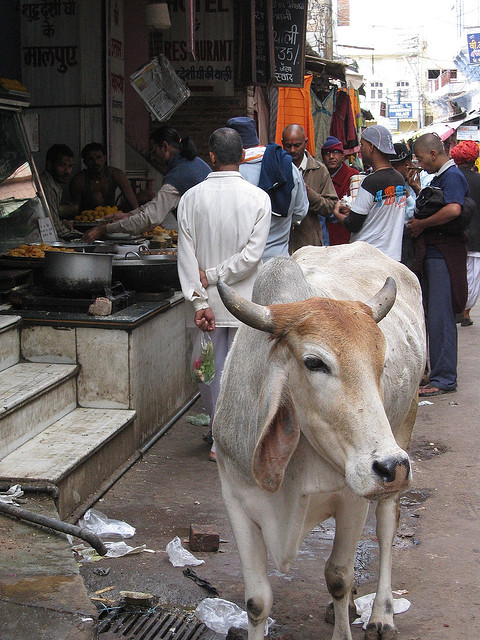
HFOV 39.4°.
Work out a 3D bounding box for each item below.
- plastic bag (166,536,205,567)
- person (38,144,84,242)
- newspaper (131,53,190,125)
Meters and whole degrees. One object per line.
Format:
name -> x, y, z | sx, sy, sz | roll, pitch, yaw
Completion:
plastic bag -> -0.254, 1.067, 3.072 | 0.166, 0.124, 0.077 | 6, -9, 18
person -> -2.106, -1.378, 7.573 | 0.662, 1.191, 0.578 | -4, 23, -22
newspaper -> -0.982, -2.856, 8.153 | 0.686, 0.776, 0.195 | 0, 6, -11
